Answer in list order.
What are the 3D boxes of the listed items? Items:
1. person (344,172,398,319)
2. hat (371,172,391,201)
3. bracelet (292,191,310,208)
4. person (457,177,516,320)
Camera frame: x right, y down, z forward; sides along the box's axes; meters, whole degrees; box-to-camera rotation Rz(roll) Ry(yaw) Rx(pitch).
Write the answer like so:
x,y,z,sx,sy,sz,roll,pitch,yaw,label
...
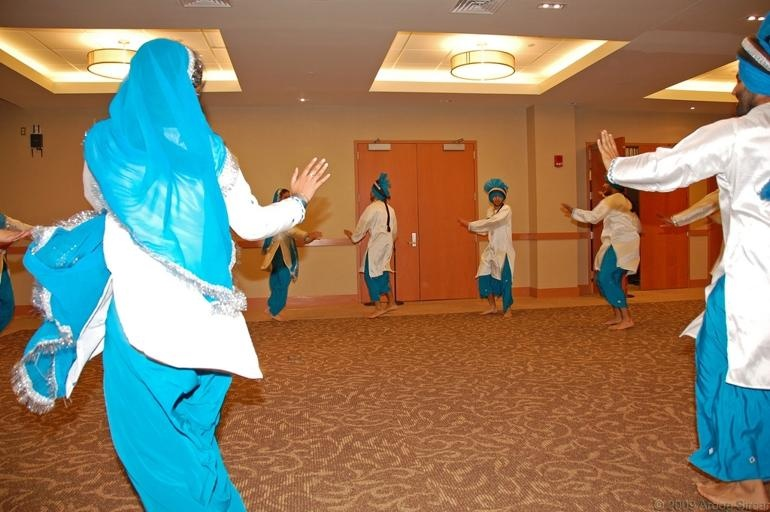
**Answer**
x,y,z,sx,sy,sz,roll,pitch,yaw,label
-0.171,-0.143,7.833,0.556,2.049,0.747,1,11,14,person
-0.065,-1.083,8.082,0.364,0.438,0.168,1,-4,-6,hat
-0.472,-0.301,2.844,0.095,0.055,0.076,39,9,14,bracelet
1.587,-0.122,7.622,0.600,1.991,0.756,1,11,14,person
